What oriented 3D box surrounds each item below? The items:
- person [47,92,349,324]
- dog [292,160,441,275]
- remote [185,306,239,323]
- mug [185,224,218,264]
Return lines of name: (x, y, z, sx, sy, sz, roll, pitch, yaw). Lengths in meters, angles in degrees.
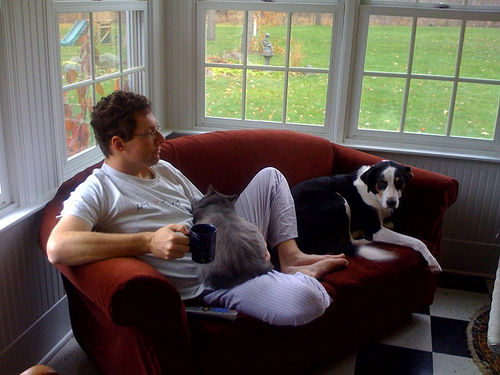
person: (-0.175, 0.099, 1.830, 1.235, 0.907, 1.020, -1, 13, 2)
dog: (0.657, 0.138, 2.281, 0.877, 0.536, 0.539, 0, 11, 12)
remote: (-0.159, 0.530, 1.608, 0.222, 0.064, 0.093, 1, 16, -1)
mug: (-0.189, 0.211, 1.446, 0.098, 0.137, 0.130, -7, 18, -25)
